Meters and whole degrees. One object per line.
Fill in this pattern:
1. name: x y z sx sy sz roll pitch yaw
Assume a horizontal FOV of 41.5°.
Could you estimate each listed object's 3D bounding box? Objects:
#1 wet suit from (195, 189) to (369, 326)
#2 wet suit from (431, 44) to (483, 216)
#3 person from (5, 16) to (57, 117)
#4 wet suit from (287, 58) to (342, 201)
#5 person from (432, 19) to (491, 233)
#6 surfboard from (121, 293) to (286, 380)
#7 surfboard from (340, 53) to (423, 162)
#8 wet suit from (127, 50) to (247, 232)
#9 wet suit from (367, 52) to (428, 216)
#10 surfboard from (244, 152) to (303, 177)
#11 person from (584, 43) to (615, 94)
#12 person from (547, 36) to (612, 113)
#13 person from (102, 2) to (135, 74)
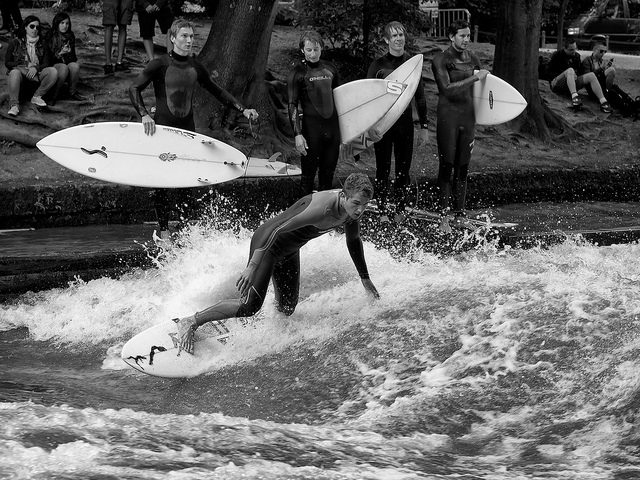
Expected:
1. wet suit: -0.294 0.178 7.230 1.429 1.318 0.702 2 18 2
2. wet suit: 1.462 -1.165 9.091 0.510 1.800 0.447 -5 19 -19
3. person: -3.920 -2.357 11.376 0.741 1.277 0.468 -10 21 -30
4. wet suit: -0.074 -1.185 8.946 0.547 1.354 0.376 -2 18 -9
5. person: 1.508 -1.225 9.281 0.591 2.331 1.194 4 18 11
6. surfboard: -0.815 0.859 7.668 1.999 0.558 0.267 -21 -4 -43
7. surfboard: 0.683 -1.413 9.223 0.783 1.172 0.507 4 18 9
8. wet suit: -1.441 -0.978 8.931 0.908 2.021 1.041 6 19 15
9. wet suit: 0.840 -1.159 9.290 0.670 1.734 0.548 2 18 3
10. surfboard: -0.611 -0.889 10.451 0.606 0.133 0.346 3 19 -27
11. person: 5.351 -3.296 16.125 0.578 0.932 0.431 8 19 19
12. person: 4.988 -3.213 16.270 0.655 1.501 1.669 -1 9 -15
13. person: -3.150 -3.218 13.188 0.458 1.028 1.360 -3 19 -12
